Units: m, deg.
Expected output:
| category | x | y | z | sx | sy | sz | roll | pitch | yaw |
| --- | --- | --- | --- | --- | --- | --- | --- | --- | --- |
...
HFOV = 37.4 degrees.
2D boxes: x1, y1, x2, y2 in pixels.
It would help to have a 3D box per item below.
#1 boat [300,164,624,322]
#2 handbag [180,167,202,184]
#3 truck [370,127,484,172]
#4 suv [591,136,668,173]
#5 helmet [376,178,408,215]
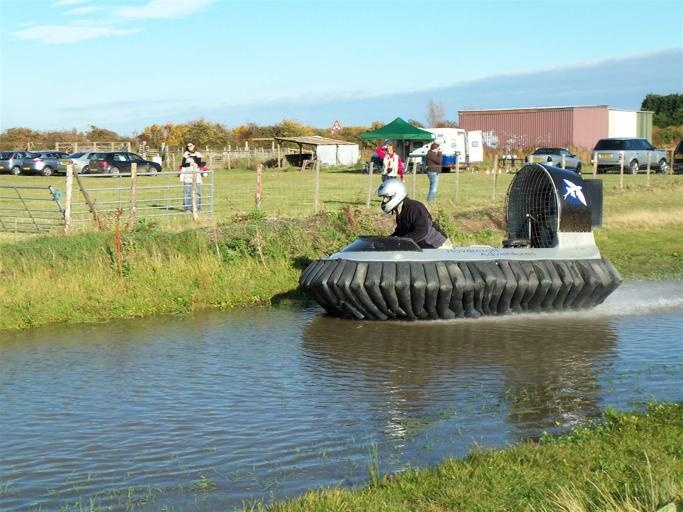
| category | x | y | z | sx | sy | sz | roll | pitch | yaw |
| --- | --- | --- | --- | --- | --- | --- | --- | --- | --- |
| boat | 1.605 | -0.191 | 14.272 | 4.063 | 1.645 | 2.241 | 0 | -3 | -19 |
| handbag | -3.246 | -1.729 | 21.915 | 0.415 | 0.273 | 0.425 | 2 | 2 | 37 |
| truck | 3.516 | -4.653 | 42.582 | 4.289 | 2.119 | 2.741 | 4 | 8 | 22 |
| suv | 10.310 | -3.461 | 36.133 | 2.484 | 1.323 | 3.473 | 2 | 13 | 15 |
| helmet | 0.695 | -0.840 | 14.085 | 0.512 | 0.463 | 0.390 | -11 | 10 | 1 |
